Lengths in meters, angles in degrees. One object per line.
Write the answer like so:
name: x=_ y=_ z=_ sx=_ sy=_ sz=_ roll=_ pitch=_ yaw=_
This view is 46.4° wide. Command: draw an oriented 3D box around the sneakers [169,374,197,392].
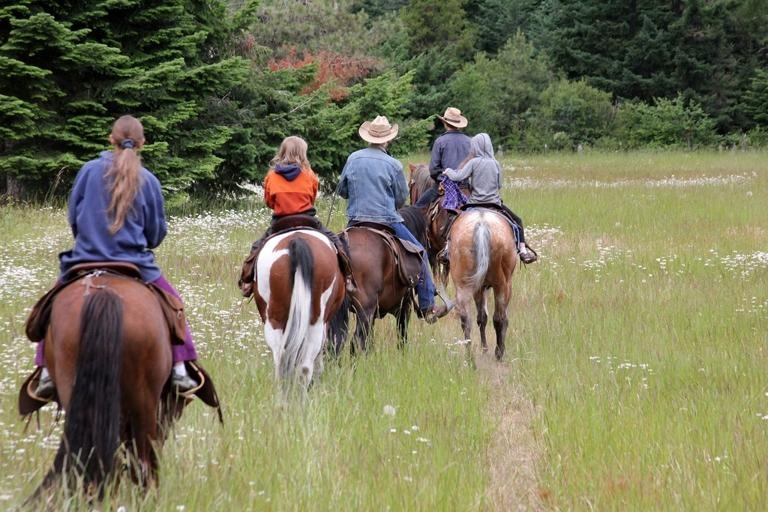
sneakers: x=-3.034 y=1.931 z=13.590 sx=0.333 sy=0.237 sz=0.241 roll=-4 pitch=-8 yaw=1

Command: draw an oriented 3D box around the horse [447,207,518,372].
horse: x=1.850 y=0.531 z=16.970 sx=1.261 sy=2.750 sz=0.818 roll=2 pitch=12 yaw=6

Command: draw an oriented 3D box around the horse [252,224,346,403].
horse: x=-1.429 y=0.943 z=15.059 sx=1.414 sy=2.566 sz=0.818 roll=-1 pitch=12 yaw=-9

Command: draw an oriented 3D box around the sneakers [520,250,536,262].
sneakers: x=2.828 y=0.012 z=17.520 sx=0.229 sy=0.170 sz=0.217 roll=0 pitch=3 yaw=7
